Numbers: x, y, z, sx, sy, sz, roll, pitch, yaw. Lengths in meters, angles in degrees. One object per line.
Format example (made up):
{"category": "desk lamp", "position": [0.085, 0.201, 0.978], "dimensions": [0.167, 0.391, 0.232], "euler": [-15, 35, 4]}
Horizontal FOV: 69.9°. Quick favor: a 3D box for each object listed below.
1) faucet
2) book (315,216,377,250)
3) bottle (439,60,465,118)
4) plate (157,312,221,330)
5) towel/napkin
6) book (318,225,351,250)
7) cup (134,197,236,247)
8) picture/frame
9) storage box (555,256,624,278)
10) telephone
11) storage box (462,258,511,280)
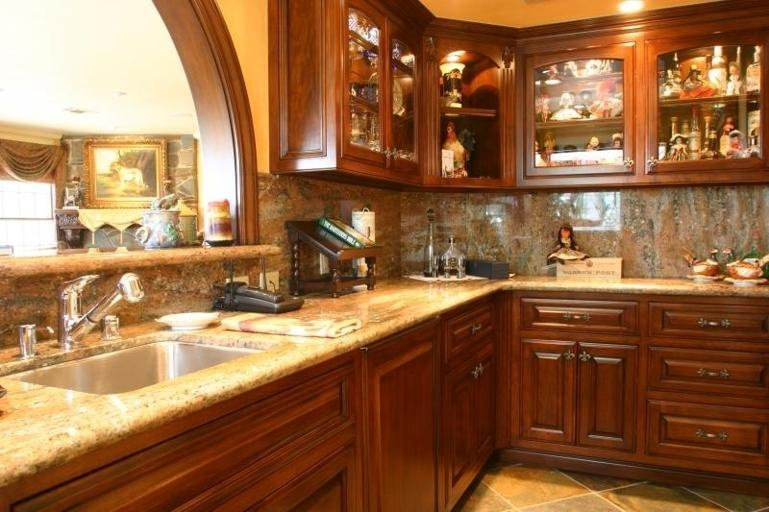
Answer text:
{"category": "faucet", "position": [-0.976, 0.188, 1.936], "dimensions": [0.312, 0.255, 0.148], "euler": [-1, 4, 10]}
{"category": "book", "position": [-0.228, -0.130, 2.924], "dimensions": [0.224, 0.056, 0.207], "euler": [13, 20, -47]}
{"category": "bottle", "position": [0.452, -1.133, 3.635], "dimensions": [0.204, 0.295, 0.069], "euler": [-5, 5, -39]}
{"category": "plate", "position": [-0.810, 0.259, 2.293], "dimensions": [0.259, 0.056, 0.267], "euler": [-3, 3, -21]}
{"category": "towel/napkin", "position": [-0.367, 0.270, 2.238], "dimensions": [0.567, 0.048, 0.337], "euler": [0, 3, 18]}
{"category": "book", "position": [-0.271, -0.104, 2.898], "dimensions": [0.132, 0.029, 0.126], "euler": [28, -1, -19]}
{"category": "cup", "position": [-0.847, -0.139, 2.405], "dimensions": [0.191, 0.166, 0.331], "euler": [-4, -5, 35]}
{"category": "picture/frame", "position": [-1.026, -0.325, 2.163], "dimensions": [0.036, 0.259, 0.329], "euler": [10, 10, 39]}
{"category": "storage box", "position": [1.353, 0.082, 3.667], "dimensions": [0.404, 0.129, 0.070], "euler": [-1, 4, 8]}
{"category": "telephone", "position": [-0.577, 0.143, 2.471], "dimensions": [0.345, 0.118, 0.222], "euler": [1, 1, 13]}
{"category": "storage box", "position": [0.682, 0.088, 3.706], "dimensions": [0.163, 0.115, 0.321], "euler": [-3, 4, -31]}
